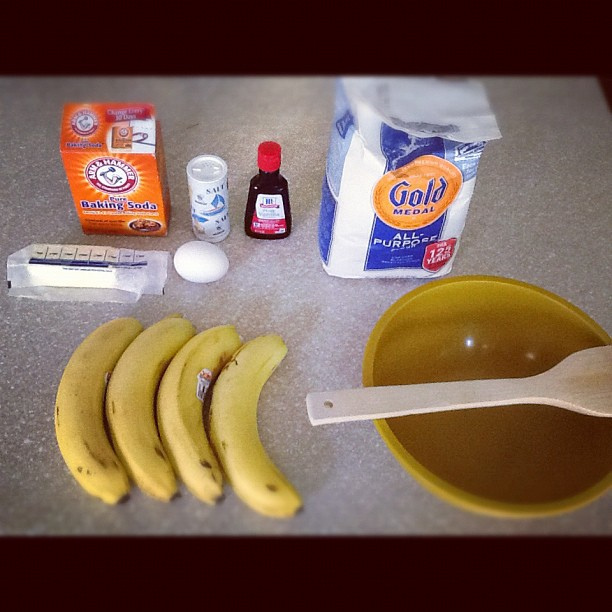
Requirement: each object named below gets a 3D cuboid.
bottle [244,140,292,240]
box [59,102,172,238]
[{"bbox_3d":[-0.053,-0.160,0.950,0.075,0.149,0.056,-1,53,-3],"label":"bottle"},{"bbox_3d":[-0.263,-0.187,0.938,0.128,0.190,0.092,-1,57,-6],"label":"box"}]
